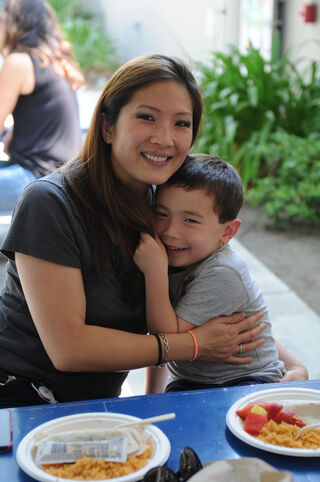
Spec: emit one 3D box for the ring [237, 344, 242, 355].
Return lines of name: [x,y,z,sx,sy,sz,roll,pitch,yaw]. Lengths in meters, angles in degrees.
ring: [0.239,0.320,1.279,0.010,0.024,0.019,1,-4,-1]

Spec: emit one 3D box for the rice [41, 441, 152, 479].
rice: [-0.096,0.367,0.713,0.186,0.020,0.058,0,5,-19]
